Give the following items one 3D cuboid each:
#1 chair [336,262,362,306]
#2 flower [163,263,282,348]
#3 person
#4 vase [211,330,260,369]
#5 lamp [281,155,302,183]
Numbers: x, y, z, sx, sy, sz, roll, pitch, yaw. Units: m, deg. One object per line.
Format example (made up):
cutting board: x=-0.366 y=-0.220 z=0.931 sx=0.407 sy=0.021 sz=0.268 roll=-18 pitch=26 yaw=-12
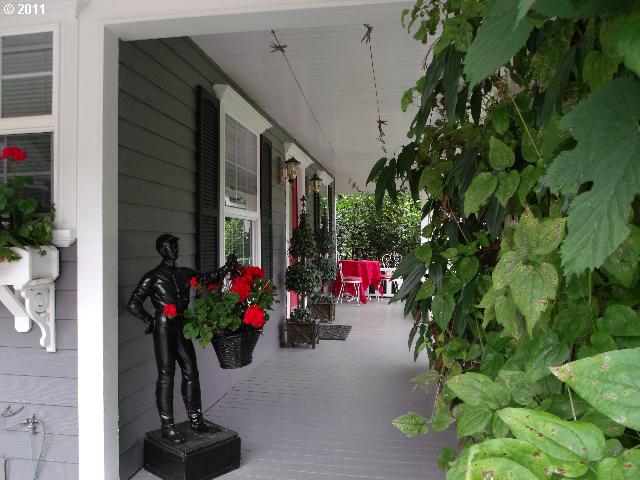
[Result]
chair: x=0.655 y=0.992 z=10.453 sx=0.687 sy=1.162 sz=0.713 roll=2 pitch=4 yaw=12
flower: x=-0.527 y=0.393 z=2.787 sx=0.555 sy=0.364 sz=0.505 roll=4 pitch=8 yaw=33
person: x=-0.793 y=0.560 z=2.657 sx=0.621 sy=1.176 sz=0.178 roll=0 pitch=0 yaw=-37
vase: x=-0.495 y=0.628 z=2.707 sx=0.224 sy=0.200 sz=0.254 roll=-3 pitch=-2 yaw=-5
lamp: x=-0.372 y=-0.946 z=6.072 sx=0.261 sy=0.420 sz=0.272 roll=-1 pitch=5 yaw=-24
